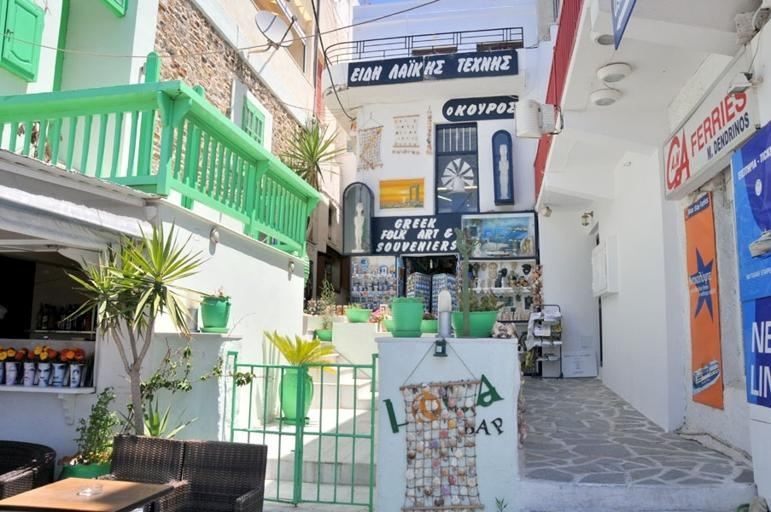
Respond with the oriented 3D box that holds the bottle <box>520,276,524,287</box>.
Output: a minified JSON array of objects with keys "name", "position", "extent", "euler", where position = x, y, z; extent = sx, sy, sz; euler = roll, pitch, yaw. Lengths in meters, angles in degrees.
[{"name":"bottle","position":[3.463,0.644,14.547],"extent":[0.133,0.192,0.067],"euler":[1,-43,12]}]

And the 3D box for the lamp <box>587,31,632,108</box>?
[{"name":"lamp","position":[2.976,-2.422,7.606],"extent":[0.435,0.174,0.744],"euler":[14,-30,-1]}]

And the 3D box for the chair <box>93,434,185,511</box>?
[{"name":"chair","position":[-2.459,2.288,6.130],"extent":[0.677,1.000,0.664],"euler":[3,-17,-6]}]

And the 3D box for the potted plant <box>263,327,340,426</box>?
[{"name":"potted plant","position":[-1.488,2.003,9.385],"extent":[1.212,1.394,1.094],"euler":[10,-11,-41]}]

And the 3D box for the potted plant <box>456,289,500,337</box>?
[{"name":"potted plant","position":[1.095,0.709,6.969],"extent":[0.543,0.555,0.760],"euler":[2,-1,9]}]

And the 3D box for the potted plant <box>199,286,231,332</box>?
[{"name":"potted plant","position":[-2.172,0.709,7.838],"extent":[0.544,0.612,0.530],"euler":[1,-1,0]}]

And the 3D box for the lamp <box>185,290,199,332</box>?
[{"name":"lamp","position":[-2.561,0.739,7.606],"extent":[0.172,0.453,0.574],"euler":[3,-1,-19]}]

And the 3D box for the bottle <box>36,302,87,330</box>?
[{"name":"bottle","position":[-5.531,1.046,9.854],"extent":[0.827,0.439,0.443],"euler":[3,-1,-30]}]

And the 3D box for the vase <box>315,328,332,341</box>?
[{"name":"vase","position":[-1.325,1.690,12.197],"extent":[0.304,0.143,0.302],"euler":[5,-11,-36]}]

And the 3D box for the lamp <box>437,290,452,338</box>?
[{"name":"lamp","position":[0.682,0.661,6.631],"extent":[0.164,0.518,0.299],"euler":[2,-1,5]}]

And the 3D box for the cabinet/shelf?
[{"name":"cabinet/shelf","position":[2.538,0.735,12.087],"extent":[1.499,1.337,0.507],"euler":[-1,-13,8]}]

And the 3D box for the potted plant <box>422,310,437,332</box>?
[{"name":"potted plant","position":[0.738,1.117,9.696],"extent":[0.337,0.246,0.530],"euler":[0,-10,0]}]

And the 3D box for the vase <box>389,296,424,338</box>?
[{"name":"vase","position":[0.249,0.722,6.723],"extent":[0.402,0.479,0.424],"euler":[1,-8,3]}]
